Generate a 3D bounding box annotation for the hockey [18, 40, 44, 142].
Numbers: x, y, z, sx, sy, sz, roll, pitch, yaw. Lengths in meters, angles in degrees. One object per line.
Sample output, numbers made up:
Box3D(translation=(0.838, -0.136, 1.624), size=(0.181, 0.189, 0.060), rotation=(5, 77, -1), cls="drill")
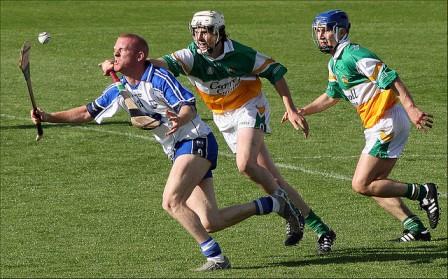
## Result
Box3D(translation=(-2.991, -0.789, 11.932), size=(0.326, 0.262, 2.735), rotation=(2, 32, -21), cls="hockey")
